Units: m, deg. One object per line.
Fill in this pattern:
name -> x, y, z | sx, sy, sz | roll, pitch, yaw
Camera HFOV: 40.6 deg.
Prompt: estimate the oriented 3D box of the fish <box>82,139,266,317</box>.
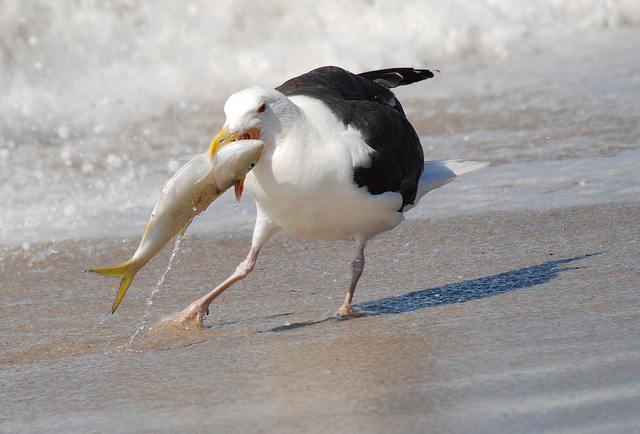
fish -> -1.097, -0.057, 7.192 | 0.416, 1.004, 1.589 | 31, 50, 24
